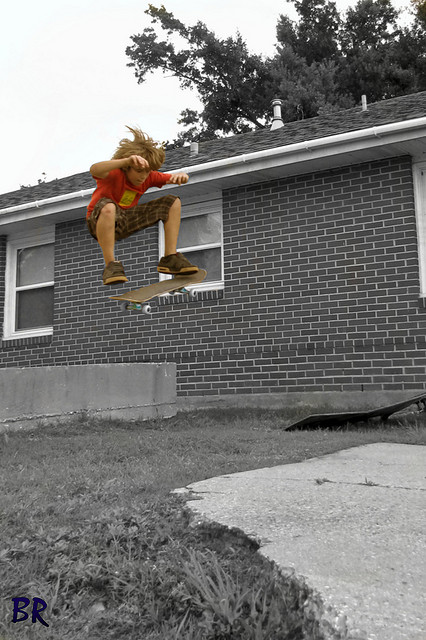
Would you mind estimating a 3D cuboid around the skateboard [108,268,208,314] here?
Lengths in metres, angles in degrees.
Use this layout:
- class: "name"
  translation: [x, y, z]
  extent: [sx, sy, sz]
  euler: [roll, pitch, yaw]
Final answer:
- class: "skateboard"
  translation: [-0.579, -0.327, 6.732]
  extent: [0.281, 0.158, 1.028]
  euler: [7, 25, 39]

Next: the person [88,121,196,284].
- class: "person"
  translation: [-0.641, -0.922, 4.789]
  extent: [0.808, 1.210, 1.174]
  euler: [-4, -3, 16]
